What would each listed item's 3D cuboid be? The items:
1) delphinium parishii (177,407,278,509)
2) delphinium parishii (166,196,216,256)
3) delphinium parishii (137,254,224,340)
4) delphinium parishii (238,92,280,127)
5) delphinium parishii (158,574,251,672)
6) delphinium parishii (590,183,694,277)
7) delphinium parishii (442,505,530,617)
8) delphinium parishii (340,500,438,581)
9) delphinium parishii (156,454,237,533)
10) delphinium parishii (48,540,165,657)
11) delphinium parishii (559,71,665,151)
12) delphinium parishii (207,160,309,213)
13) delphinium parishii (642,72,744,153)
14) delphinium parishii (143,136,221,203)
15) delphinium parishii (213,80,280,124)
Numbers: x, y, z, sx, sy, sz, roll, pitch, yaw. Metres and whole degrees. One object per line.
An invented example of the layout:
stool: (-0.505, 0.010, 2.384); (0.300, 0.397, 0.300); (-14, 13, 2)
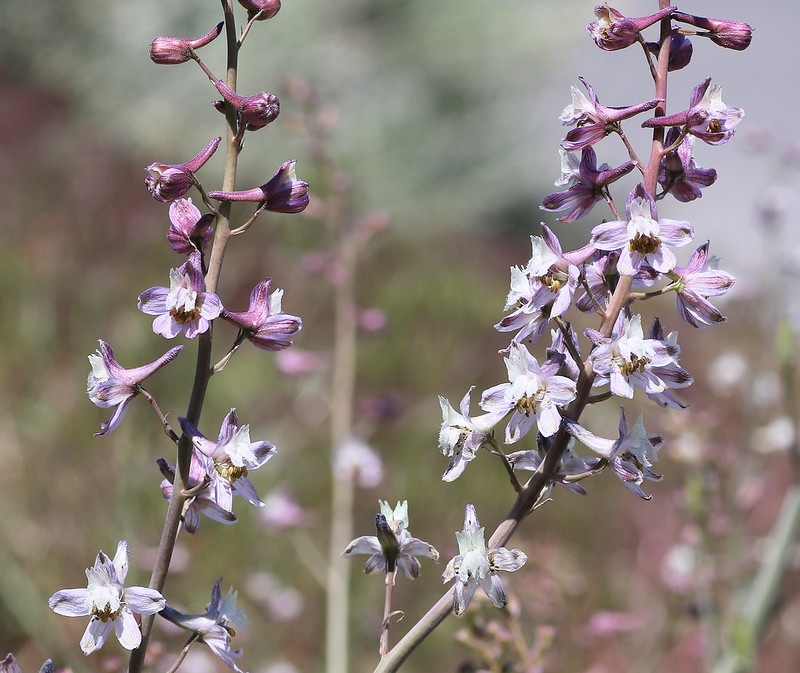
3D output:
delphinium parishii: (-0.441, 0.306, 3.799); (0.121, 0.211, 0.250); (-15, -35, 39)
delphinium parishii: (-0.523, -0.277, 3.838); (0.119, 0.151, 0.105); (7, -25, 2)
delphinium parishii: (-0.544, -0.083, 3.796); (0.193, 0.242, 0.134); (-20, -39, 2)
delphinium parishii: (-0.343, -0.575, 3.867); (0.093, 0.084, 0.073); (-21, 6, 24)
delphinium parishii: (-0.504, 0.743, 3.916); (0.224, 0.302, 0.258); (11, -26, -6)
delphinium parishii: (0.607, -0.239, 3.811); (0.251, 0.194, 0.180); (3, -27, 11)
delphinium parishii: (0.203, 0.588, 3.831); (0.183, 0.259, 0.189); (14, -26, -13)
delphinium parishii: (-0.020, 0.521, 3.966); (0.203, 0.230, 0.218); (-2, 13, -8)
delphinium parishii: (-0.541, 0.379, 3.888); (0.183, 0.148, 0.178); (31, 31, 31)
delphinium parishii: (-0.730, 0.670, 3.823); (0.284, 0.284, 0.179); (15, -26, -13)
delphinium parishii: (0.538, -0.580, 3.874); (0.245, 0.185, 0.161); (-9, 2, 21)
delphinium parishii: (-0.348, -0.373, 3.910); (0.208, 0.138, 0.127); (3, 8, -23)
delphinium parishii: (0.740, -0.564, 3.823); (0.242, 0.140, 0.158); (22, -29, -22)
delphinium parishii: (-0.547, -0.436, 3.890); (0.165, 0.223, 0.179); (10, -26, -3)
delphinium parishii: (-0.391, -0.597, 3.872); (0.182, 0.102, 0.092); (27, 28, 25)
